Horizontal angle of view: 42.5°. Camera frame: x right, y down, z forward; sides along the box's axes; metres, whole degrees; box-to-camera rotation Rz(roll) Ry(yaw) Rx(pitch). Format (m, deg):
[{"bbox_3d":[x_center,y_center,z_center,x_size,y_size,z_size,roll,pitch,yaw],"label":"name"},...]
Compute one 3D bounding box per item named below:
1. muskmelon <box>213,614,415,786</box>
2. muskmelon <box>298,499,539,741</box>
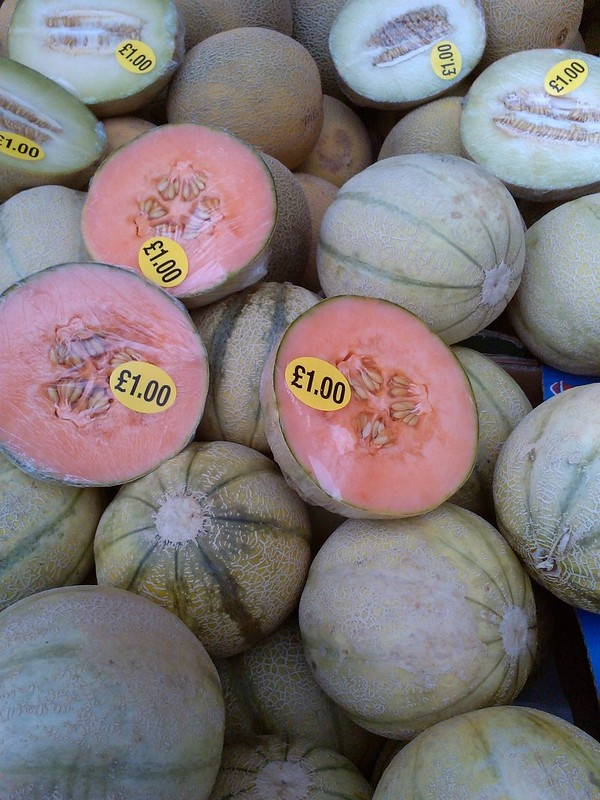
[{"bbox_3d":[-0.015,0.530,1.510,0.258,0.181,0.305,-3,94,-7],"label":"muskmelon"},{"bbox_3d":[0.196,0.344,1.281,0.389,0.197,0.355,-17,57,-5],"label":"muskmelon"}]
